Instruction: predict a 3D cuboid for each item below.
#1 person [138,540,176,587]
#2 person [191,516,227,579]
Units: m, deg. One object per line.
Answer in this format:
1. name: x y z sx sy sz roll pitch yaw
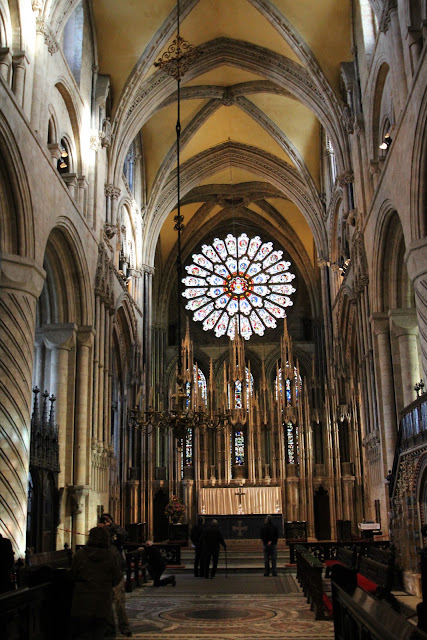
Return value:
1. person: -0.991 4.308 11.250 0.588 0.967 0.343 -8 -42 -7
2. person: -0.118 4.452 12.582 0.596 1.109 1.556 -2 -19 -3
